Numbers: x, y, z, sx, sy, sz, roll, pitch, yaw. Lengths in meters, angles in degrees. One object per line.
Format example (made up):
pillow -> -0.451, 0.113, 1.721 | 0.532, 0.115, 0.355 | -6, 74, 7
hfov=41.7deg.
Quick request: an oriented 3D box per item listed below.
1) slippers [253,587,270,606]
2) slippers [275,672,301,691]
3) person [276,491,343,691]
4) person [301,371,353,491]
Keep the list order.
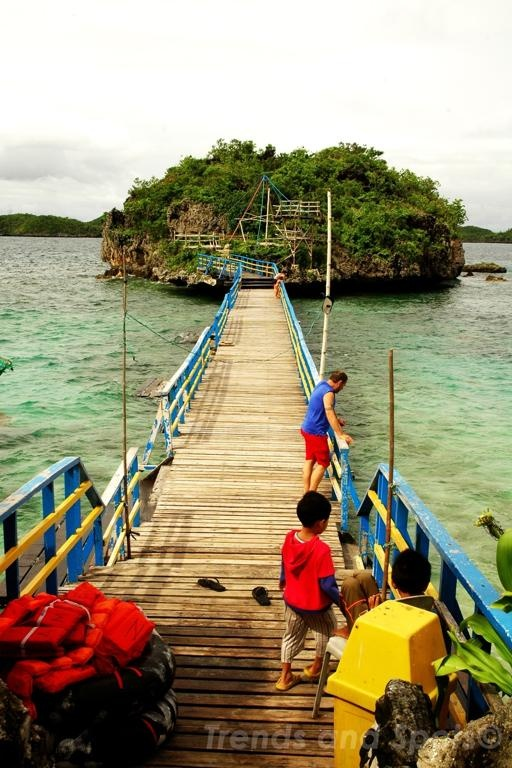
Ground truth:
slippers -> 0.033, 1.520, 4.824 | 0.130, 0.063, 0.235 | 3, 8, -2
slippers -> 0.178, 1.657, 3.820 | 0.065, 0.067, 0.177 | 7, 16, 31
person -> 0.320, 1.172, 3.798 | 0.484, 1.112, 0.364 | 4, 10, 21
person -> 0.688, 0.534, 6.921 | 0.485, 1.415, 0.991 | 4, 8, 4
